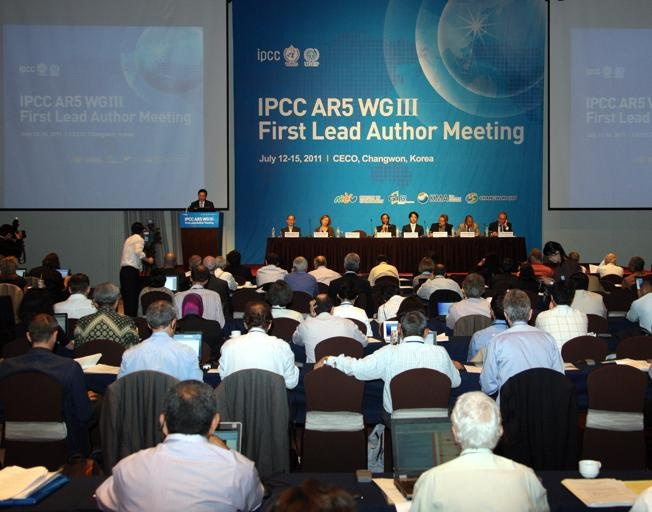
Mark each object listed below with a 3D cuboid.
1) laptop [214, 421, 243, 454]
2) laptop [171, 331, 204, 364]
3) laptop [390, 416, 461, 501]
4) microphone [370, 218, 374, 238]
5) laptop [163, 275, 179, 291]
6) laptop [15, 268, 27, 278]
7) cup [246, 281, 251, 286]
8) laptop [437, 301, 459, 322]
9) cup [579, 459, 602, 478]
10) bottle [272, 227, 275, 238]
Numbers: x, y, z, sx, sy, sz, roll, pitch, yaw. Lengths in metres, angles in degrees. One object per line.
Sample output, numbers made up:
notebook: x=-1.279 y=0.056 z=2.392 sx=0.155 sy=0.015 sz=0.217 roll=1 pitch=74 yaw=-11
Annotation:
laptop: x=-0.485 y=0.926 z=3.013 sx=0.145 sy=0.158 sz=0.135 roll=-2 pitch=39 yaw=3
laptop: x=-1.089 y=0.784 z=4.716 sx=0.292 sy=0.331 sz=0.220 roll=1 pitch=4 yaw=1
laptop: x=0.492 y=0.984 z=2.996 sx=0.341 sy=0.346 sz=0.295 roll=-1 pitch=-6 yaw=-5
microphone: x=1.075 y=-0.661 z=13.928 sx=0.096 sy=0.330 sz=0.250 roll=1 pitch=2 yaw=5
laptop: x=-2.043 y=0.363 z=7.835 sx=0.264 sy=0.284 sz=0.143 roll=-1 pitch=2 yaw=-22
laptop: x=-4.411 y=0.256 z=8.543 sx=0.115 sy=0.134 sz=0.071 roll=1 pitch=5 yaw=0
cup: x=-1.193 y=0.433 z=9.015 sx=0.051 sy=0.074 sz=0.061 roll=1 pitch=-1 yaw=-6
laptop: x=1.370 y=0.623 z=6.770 sx=0.214 sy=0.187 sz=0.192 roll=0 pitch=6 yaw=-1
cup: x=1.329 y=1.076 z=2.999 sx=0.082 sy=0.077 sz=0.112 roll=-3 pitch=-16 yaw=15
bottle: x=-1.249 y=-0.578 z=14.079 sx=0.078 sy=0.184 sz=0.172 roll=1 pitch=2 yaw=-6
